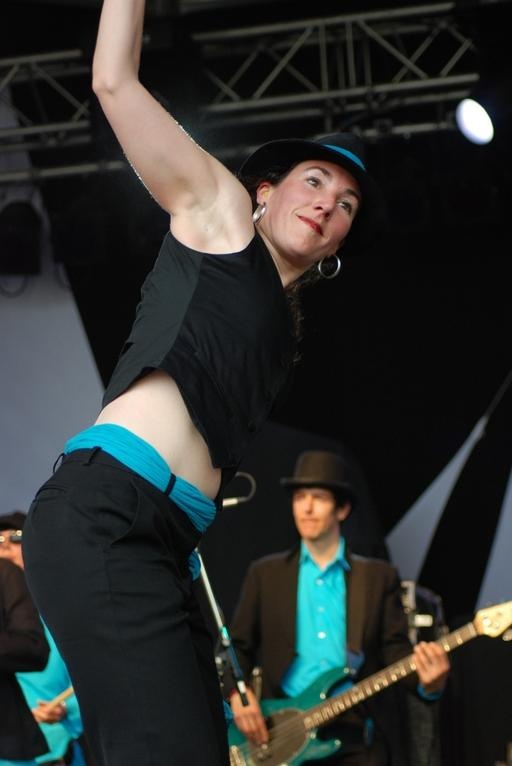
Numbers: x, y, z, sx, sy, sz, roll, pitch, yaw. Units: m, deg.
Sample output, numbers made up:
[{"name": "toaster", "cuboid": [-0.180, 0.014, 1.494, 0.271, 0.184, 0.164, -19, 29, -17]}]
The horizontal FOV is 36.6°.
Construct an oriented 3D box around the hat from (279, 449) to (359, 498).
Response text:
[{"name": "hat", "cuboid": [0.250, 0.329, 2.868, 0.296, 0.132, 0.254, -1, -1, -4]}]
